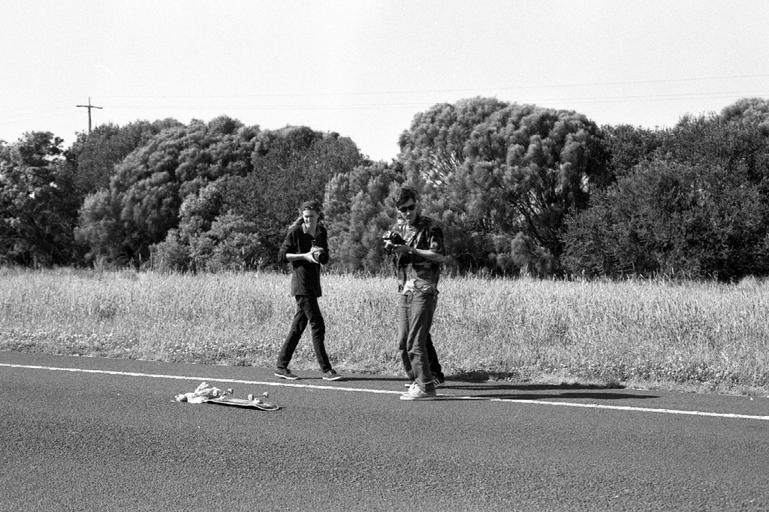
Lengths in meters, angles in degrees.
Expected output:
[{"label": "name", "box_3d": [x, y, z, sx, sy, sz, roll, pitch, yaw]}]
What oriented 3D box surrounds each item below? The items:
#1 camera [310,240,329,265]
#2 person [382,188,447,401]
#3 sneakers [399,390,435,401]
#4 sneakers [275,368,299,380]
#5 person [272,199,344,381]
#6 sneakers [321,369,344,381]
[{"label": "camera", "box_3d": [-1.127, -0.065, 13.611, 0.260, 0.422, 0.383, -2, -2, -11]}, {"label": "person", "box_3d": [0.503, 0.577, 12.485, 0.832, 3.274, 0.808, 0, 0, 0]}, {"label": "sneakers", "box_3d": [0.517, 2.090, 12.266, 0.495, 0.249, 0.214, 4, -6, 3]}, {"label": "sneakers", "box_3d": [-1.669, 2.022, 13.620, 0.440, 0.223, 0.173, 3, 0, 3]}, {"label": "person", "box_3d": [-1.348, 0.580, 13.694, 0.989, 3.045, 0.651, 0, 0, -6]}, {"label": "sneakers", "box_3d": [-0.888, 2.031, 13.540, 0.319, 0.147, 0.162, -6, -5, 43]}]
